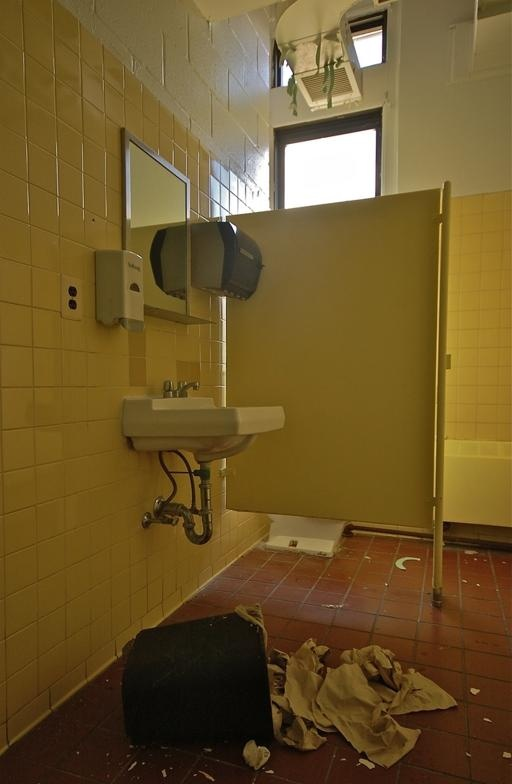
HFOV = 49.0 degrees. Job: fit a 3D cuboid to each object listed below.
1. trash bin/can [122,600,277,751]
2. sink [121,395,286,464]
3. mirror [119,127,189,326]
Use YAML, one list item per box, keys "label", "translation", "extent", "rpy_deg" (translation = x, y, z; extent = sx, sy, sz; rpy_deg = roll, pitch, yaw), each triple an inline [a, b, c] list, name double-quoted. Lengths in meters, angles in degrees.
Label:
- label: "trash bin/can"
  translation: [-0.142, 0.723, 1.441]
  extent: [0.355, 0.240, 0.396]
  rpy_deg: [-6, 9, -14]
- label: "sink"
  translation: [-0.141, 0.121, 1.930]
  extent: [0.359, 0.263, 0.582]
  rpy_deg: [1, 1, 16]
- label: "mirror"
  translation: [-0.319, -0.538, 1.944]
  extent: [0.109, 0.533, 0.490]
  rpy_deg: [0, 1, 9]
